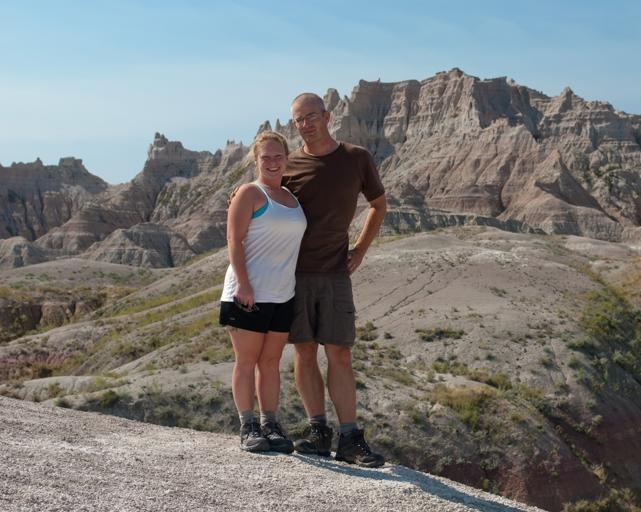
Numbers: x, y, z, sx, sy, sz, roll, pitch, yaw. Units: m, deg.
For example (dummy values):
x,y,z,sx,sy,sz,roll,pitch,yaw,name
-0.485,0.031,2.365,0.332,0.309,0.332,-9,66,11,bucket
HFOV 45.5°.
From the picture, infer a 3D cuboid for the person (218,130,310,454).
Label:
x,y,z,sx,sy,sz,roll,pitch,yaw,name
-0.749,0.428,9.950,1.053,4.183,0.380,4,0,-9,person
